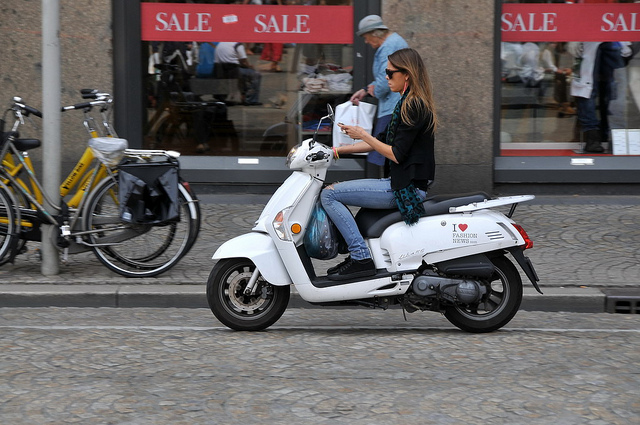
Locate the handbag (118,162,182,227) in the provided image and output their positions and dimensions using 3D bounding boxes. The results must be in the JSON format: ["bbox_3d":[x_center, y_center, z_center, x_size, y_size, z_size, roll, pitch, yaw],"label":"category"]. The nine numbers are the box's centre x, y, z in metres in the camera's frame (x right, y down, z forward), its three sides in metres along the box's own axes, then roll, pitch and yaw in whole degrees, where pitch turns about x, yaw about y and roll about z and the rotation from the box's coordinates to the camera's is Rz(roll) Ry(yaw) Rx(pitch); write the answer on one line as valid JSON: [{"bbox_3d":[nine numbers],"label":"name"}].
[{"bbox_3d":[-1.870,-0.208,7.818,1.164,0.699,0.356,0,3,-9],"label":"handbag"}]

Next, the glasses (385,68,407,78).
[{"bbox_3d":[0.701,-1.282,6.580,0.143,0.033,0.108,2,1,-6],"label":"glasses"}]

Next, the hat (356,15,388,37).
[{"bbox_3d":[0.660,-2.434,9.329,0.485,0.151,0.366,-7,8,-1],"label":"hat"}]

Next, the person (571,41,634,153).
[{"bbox_3d":[4.522,-1.854,11.613,0.921,1.782,0.376,-1,12,7],"label":"person"}]
